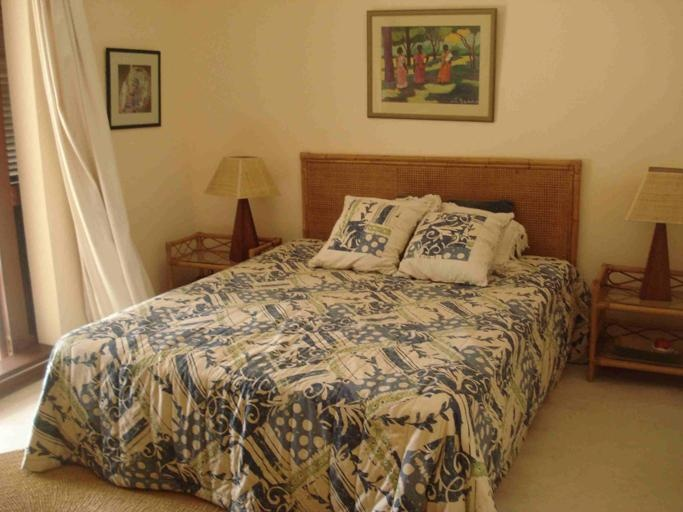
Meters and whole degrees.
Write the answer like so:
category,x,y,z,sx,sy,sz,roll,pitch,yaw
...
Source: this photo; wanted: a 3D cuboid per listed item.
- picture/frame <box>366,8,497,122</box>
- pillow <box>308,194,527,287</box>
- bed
category,x,y,z,sx,sy,sz,roll,pitch,yaw
picture/frame,0.650,-1.336,3.667,0.824,0.622,0.033,4,13,20
pillow,0.515,-0.139,3.504,1.197,0.449,0.664,8,17,23
bed,-0.069,0.356,2.781,1.839,1.320,0.653,4,15,17
